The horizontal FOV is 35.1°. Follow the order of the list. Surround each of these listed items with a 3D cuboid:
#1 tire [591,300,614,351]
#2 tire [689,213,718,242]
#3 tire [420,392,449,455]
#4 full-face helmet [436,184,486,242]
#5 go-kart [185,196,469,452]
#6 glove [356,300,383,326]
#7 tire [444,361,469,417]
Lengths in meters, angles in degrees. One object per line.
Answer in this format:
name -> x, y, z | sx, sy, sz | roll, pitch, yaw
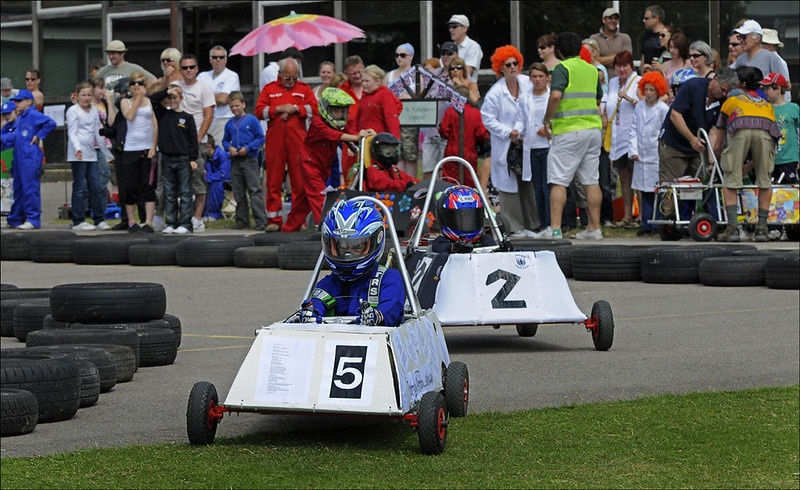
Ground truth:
tire -> 2.330, 0.914, 14.512 | 0.221, 0.587, 0.580 | -2, 11, -5
tire -> 4.636, -0.263, 19.181 | 0.316, 0.329, 0.125 | -24, 6, -8
tire -> 0.327, 1.703, 12.082 | 0.204, 0.528, 0.511 | -1, 7, 14
full-face helmet -> 0.729, -0.359, 14.726 | 0.482, 0.604, 0.653 | -3, 5, -10
go-kart -> -0.596, 0.683, 13.286 | 2.587, 2.397, 3.319 | 1, 5, 5
glove -> -0.293, 0.694, 12.678 | 0.246, 0.197, 0.105 | 25, 0, -2
tire -> 0.602, 1.488, 12.955 | 0.193, 0.604, 0.586 | 0, -1, 12
